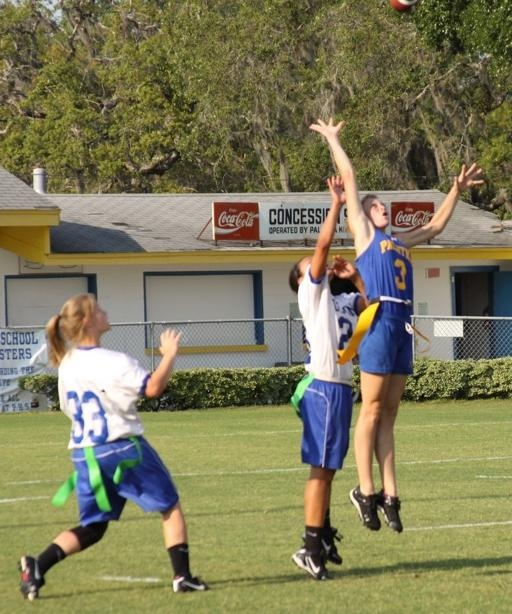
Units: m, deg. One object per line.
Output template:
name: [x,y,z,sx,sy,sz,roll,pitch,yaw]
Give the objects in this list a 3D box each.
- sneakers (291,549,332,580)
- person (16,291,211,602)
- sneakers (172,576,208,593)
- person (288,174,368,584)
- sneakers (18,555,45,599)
sneakers: [0.342,1.530,6.763,0.202,0.197,0.218,-2,0,15]
person: [-0.832,0.789,6.395,0.966,1.735,0.440,-2,0,16]
sneakers: [-0.379,1.583,6.451,0.234,0.101,0.084,2,-3,-12]
person: [0.458,0.399,7.087,0.512,2.439,0.839,-2,0,5]
sneakers: [-1.272,1.543,6.394,0.129,0.262,0.193,-2,0,-17]
